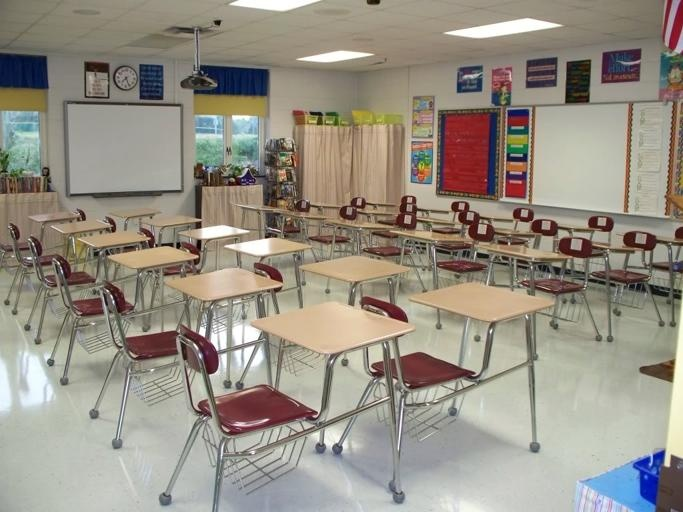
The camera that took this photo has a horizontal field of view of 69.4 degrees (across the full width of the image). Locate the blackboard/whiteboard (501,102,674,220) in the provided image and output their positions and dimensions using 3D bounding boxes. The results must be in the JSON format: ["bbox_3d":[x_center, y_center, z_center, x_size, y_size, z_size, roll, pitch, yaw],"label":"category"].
[{"bbox_3d":[3.954,-1.508,7.753,0.031,1.475,2.495,-4,8,-38],"label":"blackboard/whiteboard"}]

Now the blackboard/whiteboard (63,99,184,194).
[{"bbox_3d":[-4.100,-2.041,9.077,1.908,1.500,0.194,-6,16,-29],"label":"blackboard/whiteboard"}]

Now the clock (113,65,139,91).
[{"bbox_3d":[-3.970,-3.280,9.052,0.469,0.434,0.073,-15,17,-42],"label":"clock"}]
